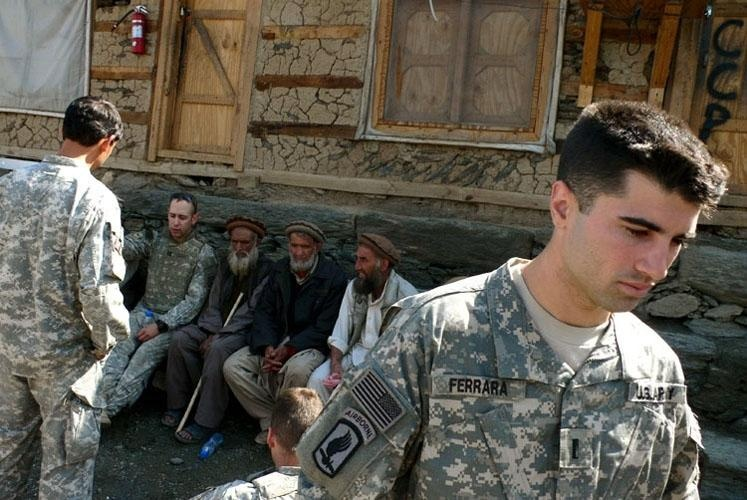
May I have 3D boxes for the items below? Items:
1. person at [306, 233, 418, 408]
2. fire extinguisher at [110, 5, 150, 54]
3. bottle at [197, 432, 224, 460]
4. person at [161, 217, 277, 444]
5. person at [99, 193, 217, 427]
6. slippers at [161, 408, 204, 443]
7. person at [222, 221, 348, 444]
[{"bbox_3d":[-0.157,0.957,7.490,0.896,2.257,1.375,4,3,38],"label":"person"},{"bbox_3d":[-2.901,-2.639,9.090,0.436,0.587,0.176,11,11,24],"label":"fire extinguisher"},{"bbox_3d":[-1.542,1.846,7.190,0.092,0.107,0.271,31,29,5],"label":"bottle"},{"bbox_3d":[-1.575,0.969,8.208,1.245,2.078,0.975,1,-19,-3],"label":"person"},{"bbox_3d":[-2.327,0.708,8.095,1.175,2.162,1.041,0,-15,-1],"label":"person"},{"bbox_3d":[-1.842,1.690,7.373,0.204,0.240,0.594,-7,11,-42],"label":"slippers"},{"bbox_3d":[-0.895,0.863,7.800,1.332,2.048,1.011,1,-8,-2],"label":"person"}]
